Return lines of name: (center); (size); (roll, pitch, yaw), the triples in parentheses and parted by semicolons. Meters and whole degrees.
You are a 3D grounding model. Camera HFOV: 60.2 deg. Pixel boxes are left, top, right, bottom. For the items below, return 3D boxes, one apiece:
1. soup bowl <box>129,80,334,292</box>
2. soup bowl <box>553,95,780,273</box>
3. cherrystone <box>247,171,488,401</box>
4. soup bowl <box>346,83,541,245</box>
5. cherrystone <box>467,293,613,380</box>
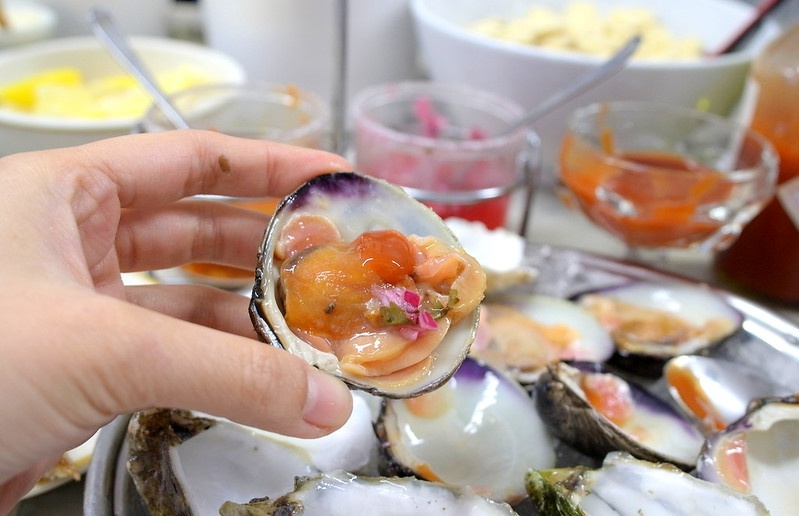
soup bowl: (-0.348, -0.099, 1.499); (0.444, 0.319, 0.440); (5, 36, -3)
soup bowl: (0.529, -0.163, 1.377); (0.396, 0.265, 0.396); (-1, 34, 1)
cherrystone: (-0.061, 0.050, 1.118); (0.388, 0.124, 0.350); (-37, 91, -28)
soup bowl: (0.092, -0.193, 1.638); (0.373, 0.391, 0.391); (3, 35, -2)
cherrystone: (0.266, 0.154, 1.350); (0.184, 0.042, 0.174); (-8, 47, -14)
